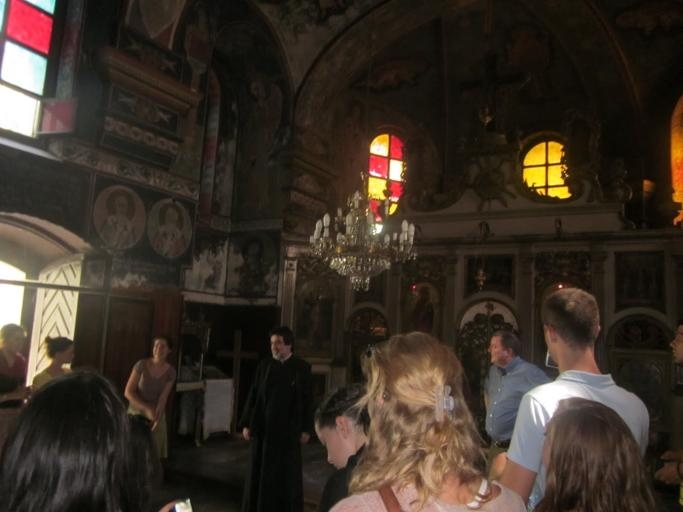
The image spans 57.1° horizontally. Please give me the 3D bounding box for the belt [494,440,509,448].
[{"bbox_3d":[1.481,1.744,5.754,0.079,0.043,0.115,-2,-8,1],"label":"belt"}]

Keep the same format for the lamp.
[{"bbox_3d":[0.316,-0.298,8.786,1.406,1.719,1.457,12,15,42],"label":"lamp"}]
